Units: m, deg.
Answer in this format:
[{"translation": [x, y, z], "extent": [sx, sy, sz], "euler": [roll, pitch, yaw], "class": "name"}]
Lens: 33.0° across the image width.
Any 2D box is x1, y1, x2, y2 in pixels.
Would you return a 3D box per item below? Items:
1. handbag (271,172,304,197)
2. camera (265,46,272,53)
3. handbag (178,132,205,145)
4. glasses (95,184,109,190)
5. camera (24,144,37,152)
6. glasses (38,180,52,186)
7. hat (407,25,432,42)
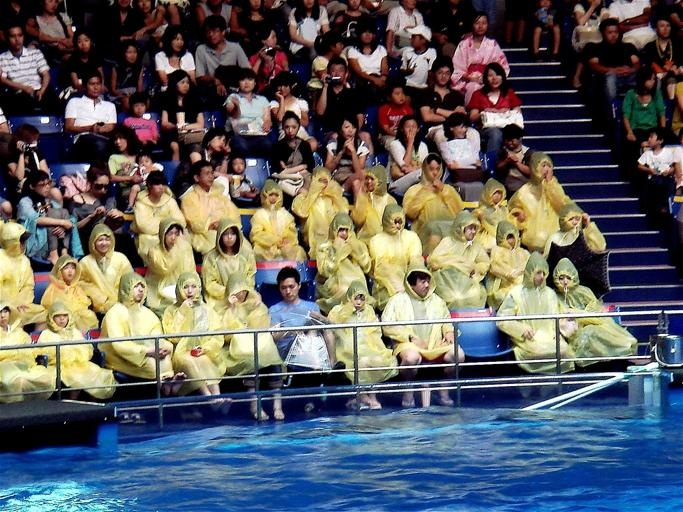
[{"translation": [-0.723, -0.993, 15.876], "extent": [0.356, 0.333, 0.148], "euler": [0, -19, -8], "class": "handbag"}, {"translation": [-1.137, -3.174, 17.787], "extent": [0.089, 0.034, 0.093], "euler": [9, -20, -23], "class": "camera"}, {"translation": [-2.143, -1.674, 16.317], "extent": [0.311, 0.104, 0.230], "euler": [-2, 6, -8], "class": "handbag"}, {"translation": [-3.131, -0.890, 14.950], "extent": [0.101, 0.094, 0.035], "euler": [9, 30, -18], "class": "glasses"}, {"translation": [-4.138, -1.431, 15.274], "extent": [0.071, 0.100, 0.202], "euler": [-9, -8, 26], "class": "camera"}, {"translation": [-3.789, -0.922, 14.615], "extent": [0.079, 0.058, 0.101], "euler": [-8, -17, 6], "class": "glasses"}, {"translation": [1.268, -3.534, 18.207], "extent": [0.353, 0.177, 0.254], "euler": [26, 9, -17], "class": "hat"}]
